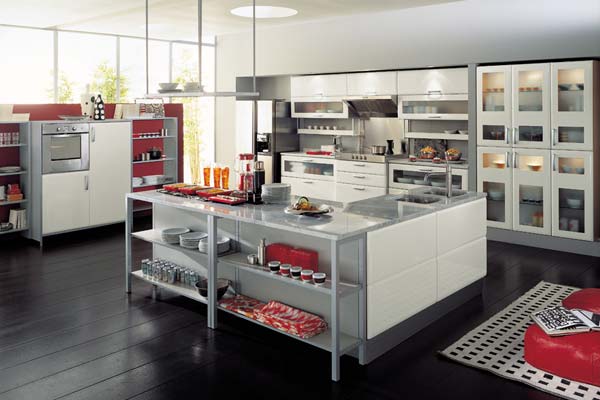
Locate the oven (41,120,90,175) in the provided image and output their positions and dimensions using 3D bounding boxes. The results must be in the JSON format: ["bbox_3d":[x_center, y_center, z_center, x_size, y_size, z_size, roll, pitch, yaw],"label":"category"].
[{"bbox_3d":[-4.012,-0.903,7.003,0.707,0.811,0.853,12,15,21],"label":"oven"}]

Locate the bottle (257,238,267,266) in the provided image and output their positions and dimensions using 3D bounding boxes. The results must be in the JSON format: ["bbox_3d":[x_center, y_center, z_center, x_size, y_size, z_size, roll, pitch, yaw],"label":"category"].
[{"bbox_3d":[-0.351,0.490,4.038,0.081,0.239,0.094,-2,13,-8],"label":"bottle"}]

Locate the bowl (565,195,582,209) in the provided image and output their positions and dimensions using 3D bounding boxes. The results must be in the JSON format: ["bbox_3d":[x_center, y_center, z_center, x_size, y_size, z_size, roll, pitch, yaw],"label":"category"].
[{"bbox_3d":[3.949,0.003,6.132,0.209,0.146,0.190,0,4,0],"label":"bowl"}]

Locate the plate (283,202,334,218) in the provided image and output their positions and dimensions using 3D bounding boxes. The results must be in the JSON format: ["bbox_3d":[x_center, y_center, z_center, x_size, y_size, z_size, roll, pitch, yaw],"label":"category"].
[{"bbox_3d":[0.112,0.088,4.063,0.440,0.087,0.294,-7,16,-26],"label":"plate"}]

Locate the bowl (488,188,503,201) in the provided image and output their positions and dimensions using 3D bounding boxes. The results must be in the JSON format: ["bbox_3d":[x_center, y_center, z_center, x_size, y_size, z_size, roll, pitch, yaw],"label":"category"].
[{"bbox_3d":[3.082,-0.080,6.715,0.179,0.112,0.189,-1,5,0],"label":"bowl"}]

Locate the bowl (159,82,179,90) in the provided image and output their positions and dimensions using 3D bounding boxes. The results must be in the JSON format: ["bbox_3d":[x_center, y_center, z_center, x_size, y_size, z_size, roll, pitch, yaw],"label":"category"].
[{"bbox_3d":[-1.495,-1.297,4.905,0.236,0.079,0.109,0,14,3],"label":"bowl"}]

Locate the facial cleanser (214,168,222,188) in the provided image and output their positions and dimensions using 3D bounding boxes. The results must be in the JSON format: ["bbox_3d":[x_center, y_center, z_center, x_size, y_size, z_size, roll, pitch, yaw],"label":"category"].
[{"bbox_3d":[-0.930,-0.262,4.842,0.103,0.233,0.081,1,13,7],"label":"facial cleanser"}]

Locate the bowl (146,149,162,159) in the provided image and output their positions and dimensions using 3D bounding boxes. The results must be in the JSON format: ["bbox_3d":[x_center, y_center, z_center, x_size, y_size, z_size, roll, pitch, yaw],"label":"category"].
[{"bbox_3d":[-2.783,-0.884,8.236,0.213,0.131,0.191,3,5,37],"label":"bowl"}]

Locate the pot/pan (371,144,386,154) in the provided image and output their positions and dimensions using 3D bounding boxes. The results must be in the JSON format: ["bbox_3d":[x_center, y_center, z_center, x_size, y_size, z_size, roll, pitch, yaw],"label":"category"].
[{"bbox_3d":[1.444,-0.919,7.773,0.218,0.128,0.210,2,5,31],"label":"pot/pan"}]

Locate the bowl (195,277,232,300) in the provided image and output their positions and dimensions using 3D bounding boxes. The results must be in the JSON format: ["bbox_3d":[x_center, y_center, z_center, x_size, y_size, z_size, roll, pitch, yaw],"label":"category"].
[{"bbox_3d":[-0.903,0.898,4.444,0.237,0.095,0.233,-1,3,0],"label":"bowl"}]
